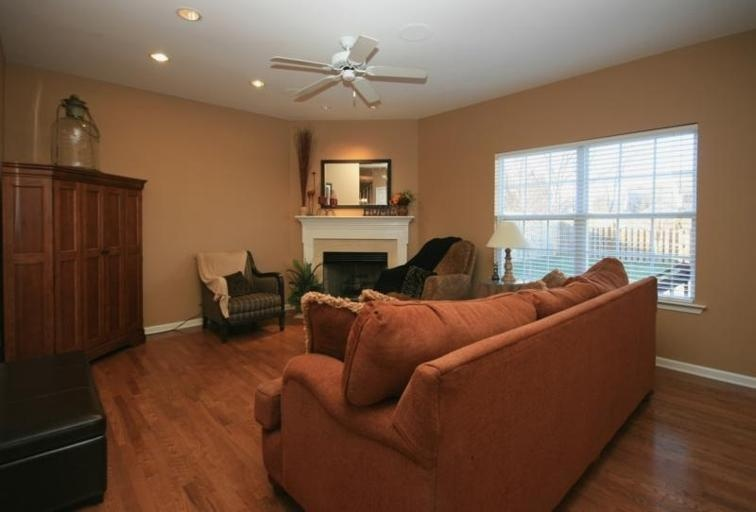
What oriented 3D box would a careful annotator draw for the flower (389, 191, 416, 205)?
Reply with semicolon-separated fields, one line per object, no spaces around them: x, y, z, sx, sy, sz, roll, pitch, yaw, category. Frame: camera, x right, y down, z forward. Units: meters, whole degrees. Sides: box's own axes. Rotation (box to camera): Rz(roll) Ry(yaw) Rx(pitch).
0.342;-0.773;7.045;0.239;0.159;0.237;0;-3;4;flower

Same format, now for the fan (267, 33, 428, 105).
-0.239;-1.819;4.918;1.358;0.518;1.521;1;5;5;fan

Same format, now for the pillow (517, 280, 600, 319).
1.284;0.267;3.675;0.348;0.104;0.342;-8;3;-5;pillow

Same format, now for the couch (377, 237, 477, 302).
0.535;0.119;6.613;0.969;1.056;0.755;10;-1;-23;couch

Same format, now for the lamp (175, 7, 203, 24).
-1.706;-2.174;4.536;0.226;0.048;0.188;0;5;-2;lamp

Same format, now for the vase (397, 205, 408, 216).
0.341;-0.630;7.097;0.139;0.130;0.123;2;2;16;vase

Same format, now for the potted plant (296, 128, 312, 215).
-1.086;-1.212;7.168;0.228;1.203;0.225;2;6;14;potted plant

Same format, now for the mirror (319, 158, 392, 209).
-0.278;-1.032;7.157;0.753;0.501;0.027;0;0;0;mirror

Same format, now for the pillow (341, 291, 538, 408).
0.347;0.571;3.059;1.106;0.617;0.224;-1;6;-22;pillow
